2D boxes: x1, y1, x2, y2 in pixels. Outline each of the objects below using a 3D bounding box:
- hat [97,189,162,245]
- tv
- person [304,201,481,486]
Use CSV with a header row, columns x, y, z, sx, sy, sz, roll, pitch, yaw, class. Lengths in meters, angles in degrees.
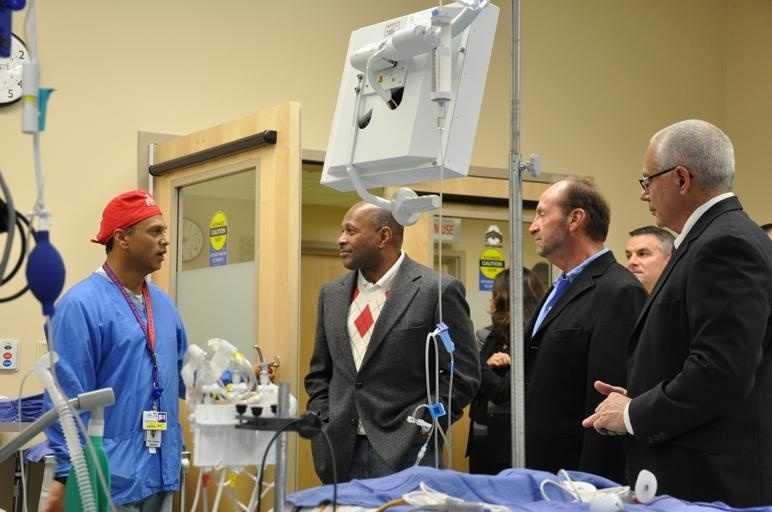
x,y,z,sx,sy,sz,roll,pitch,yaw,class
-1.210,-0.215,4.085,0.283,0.232,0.215,-29,5,-4,hat
0.072,-0.584,3.156,0.645,0.646,0.296,-3,-4,32,tv
-0.007,0.397,4.044,0.837,1.353,0.450,-2,-4,25,person
